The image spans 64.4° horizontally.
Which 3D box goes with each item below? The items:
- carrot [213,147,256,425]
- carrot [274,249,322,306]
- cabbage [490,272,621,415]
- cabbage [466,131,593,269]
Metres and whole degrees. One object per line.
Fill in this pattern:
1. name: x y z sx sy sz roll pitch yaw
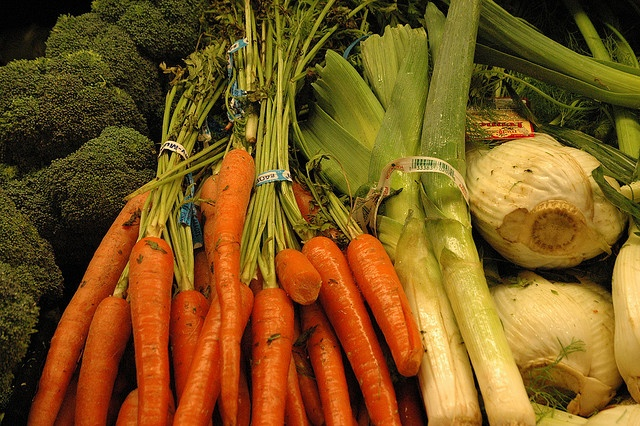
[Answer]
1. carrot: -0.334 0.222 1.988 0.135 0.141 1.055 -25 53 29
2. carrot: -0.080 0.226 2.032 0.123 0.144 0.242 -13 30 -16
3. cabbage: 0.931 0.510 1.991 0.457 0.404 0.342 -1 26 6
4. cabbage: 0.870 -0.036 2.083 0.527 0.455 0.314 4 27 16
